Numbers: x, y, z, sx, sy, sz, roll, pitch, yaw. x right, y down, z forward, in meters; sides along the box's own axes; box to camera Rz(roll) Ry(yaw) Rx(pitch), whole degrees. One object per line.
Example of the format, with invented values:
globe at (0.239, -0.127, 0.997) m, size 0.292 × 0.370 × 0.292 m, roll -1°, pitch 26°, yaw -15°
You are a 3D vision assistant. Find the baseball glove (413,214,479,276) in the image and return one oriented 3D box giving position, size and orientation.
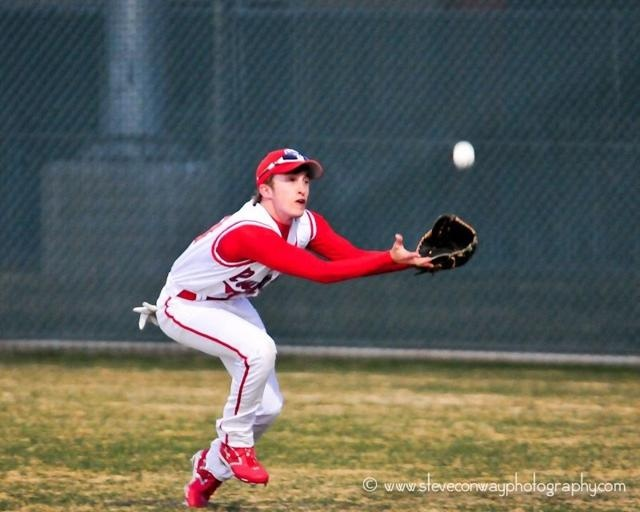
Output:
baseball glove at (0.840, -0.018, 10.435) m, size 0.432 × 0.213 × 0.325 m, roll -27°, pitch 33°, yaw 2°

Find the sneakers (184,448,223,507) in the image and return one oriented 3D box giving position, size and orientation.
sneakers at (-0.787, 1.495, 10.322) m, size 0.178 × 0.462 × 0.163 m, roll 0°, pitch -28°, yaw 34°

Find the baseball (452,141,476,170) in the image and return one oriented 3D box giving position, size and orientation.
baseball at (0.999, -0.735, 11.542) m, size 0.201 × 0.247 × 0.204 m, roll -1°, pitch 8°, yaw -2°

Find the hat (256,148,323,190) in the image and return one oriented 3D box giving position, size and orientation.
hat at (-0.239, -0.608, 10.333) m, size 0.347 × 0.182 × 0.257 m, roll -29°, pitch -13°, yaw 24°
